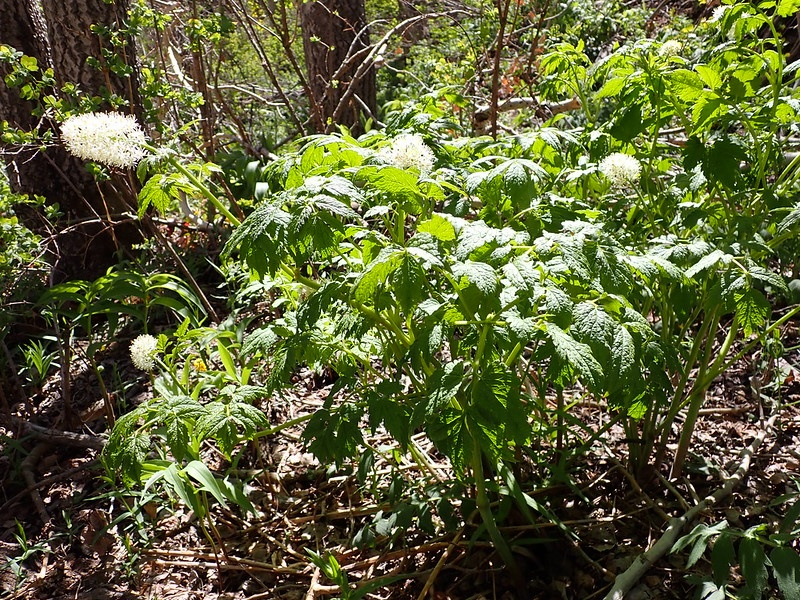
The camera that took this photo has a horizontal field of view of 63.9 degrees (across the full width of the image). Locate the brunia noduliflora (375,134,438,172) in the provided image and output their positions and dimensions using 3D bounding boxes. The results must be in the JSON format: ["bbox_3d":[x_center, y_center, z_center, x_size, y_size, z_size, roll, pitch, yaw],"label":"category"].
[{"bbox_3d":[-0.002,-0.570,2.507,0.242,0.136,0.206,19,34,32],"label":"brunia noduliflora"}]

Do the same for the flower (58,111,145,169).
[{"bbox_3d":[-1.189,-0.658,2.588,0.279,0.276,0.190,-3,-12,-11],"label":"flower"}]

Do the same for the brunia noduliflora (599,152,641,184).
[{"bbox_3d":[0.938,-0.551,2.745,0.164,0.145,0.158,7,28,15],"label":"brunia noduliflora"}]
